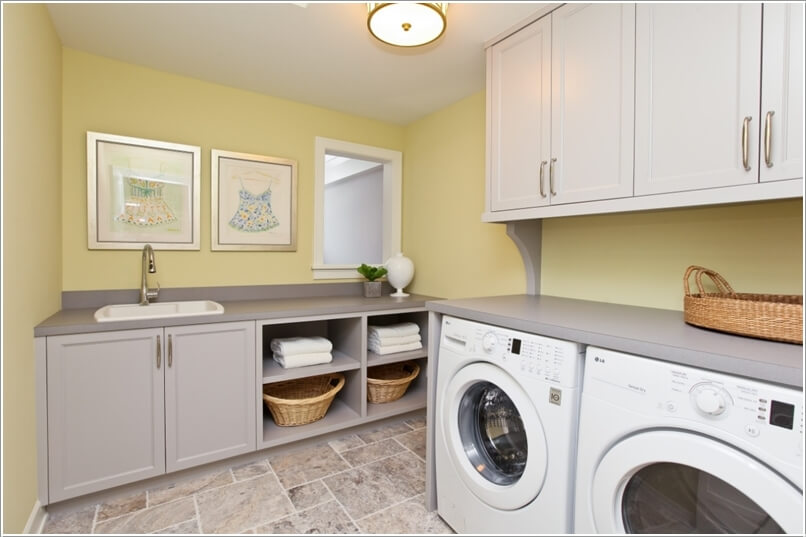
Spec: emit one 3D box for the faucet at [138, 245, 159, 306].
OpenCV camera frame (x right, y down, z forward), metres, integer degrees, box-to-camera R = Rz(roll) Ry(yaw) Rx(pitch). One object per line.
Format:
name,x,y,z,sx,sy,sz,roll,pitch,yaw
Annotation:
faucet,-1.698,0.051,3.395,0.117,0.398,0.213,-4,4,-28

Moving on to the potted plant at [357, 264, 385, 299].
potted plant,-0.274,0.118,4.207,0.272,0.267,0.255,1,-3,-14

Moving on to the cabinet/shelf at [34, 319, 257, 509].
cabinet/shelf,-1.601,0.822,3.299,1.516,1.258,0.824,0,-2,-36

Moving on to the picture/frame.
picture/frame,-1.145,-0.505,3.797,0.788,0.920,0.035,-1,6,-40

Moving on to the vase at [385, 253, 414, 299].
vase,-0.013,0.063,4.167,0.221,0.347,0.271,-3,4,-26

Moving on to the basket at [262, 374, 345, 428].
basket,-0.692,0.942,3.650,0.588,0.276,0.492,-3,3,-16

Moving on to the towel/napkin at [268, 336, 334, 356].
towel/napkin,-0.719,0.551,3.577,0.387,0.105,0.244,-3,3,-21
